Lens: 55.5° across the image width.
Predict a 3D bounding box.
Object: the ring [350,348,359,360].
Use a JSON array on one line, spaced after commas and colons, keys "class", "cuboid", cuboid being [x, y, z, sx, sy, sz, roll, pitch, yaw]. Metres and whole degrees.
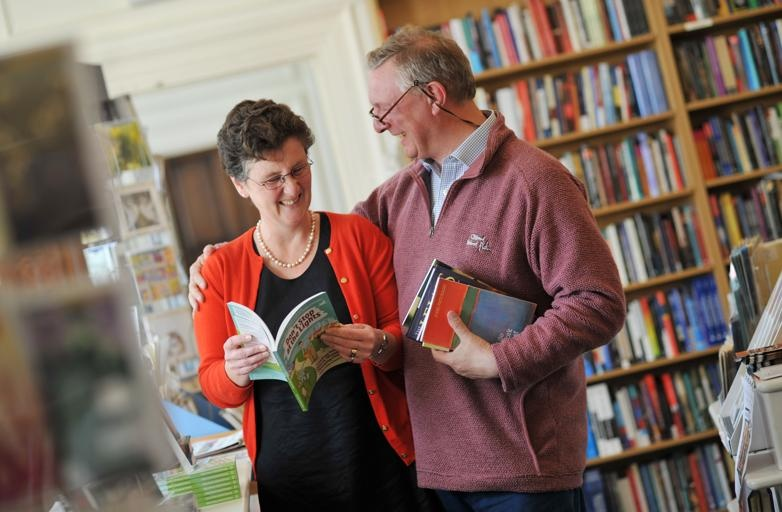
[{"class": "ring", "cuboid": [-0.120, 0.320, 2.419, 0.027, 0.032, 0.022, 1, 5, -7]}]
